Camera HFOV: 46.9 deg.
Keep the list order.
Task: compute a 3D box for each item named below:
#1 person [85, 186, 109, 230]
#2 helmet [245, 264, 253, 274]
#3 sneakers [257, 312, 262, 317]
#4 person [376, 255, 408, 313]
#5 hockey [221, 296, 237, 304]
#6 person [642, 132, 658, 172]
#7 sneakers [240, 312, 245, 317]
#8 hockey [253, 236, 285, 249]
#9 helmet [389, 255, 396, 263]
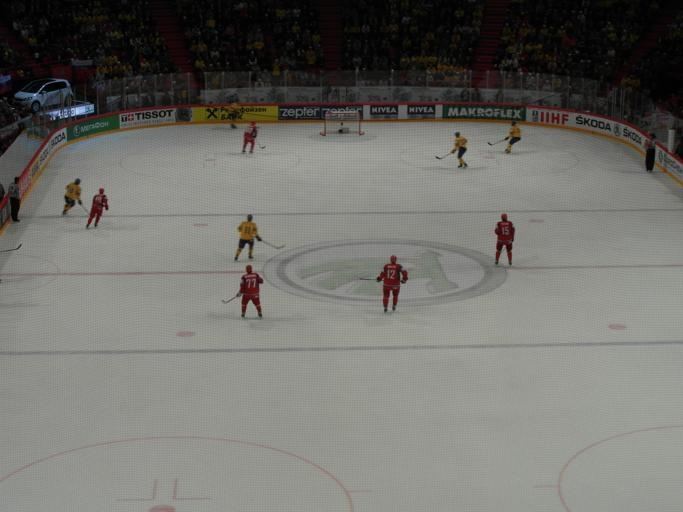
[{"bbox_3d":[-8.432,-1.539,27.099,0.891,1.785,0.470,14,48,-5],"label":"person"},{"bbox_3d":[-2.479,0.342,20.999,0.218,0.256,0.271,1,18,-4],"label":"helmet"},{"bbox_3d":[-2.130,1.510,20.473,0.166,0.176,0.476,-1,-1,-5],"label":"sneakers"},{"bbox_3d":[1.335,0.664,20.596,0.726,1.829,0.933,-1,29,5],"label":"person"},{"bbox_3d":[-3.080,1.198,21.509,0.747,0.214,0.158,8,9,41],"label":"hockey"},{"bbox_3d":[13.134,-4.449,33.325,0.466,1.479,1.940,8,29,19],"label":"person"},{"bbox_3d":[-2.577,1.536,20.535,0.103,0.167,0.096,0,23,2],"label":"sneakers"},{"bbox_3d":[-2.236,-0.388,25.576,1.145,0.111,0.353,16,-4,39],"label":"hockey"},{"bbox_3d":[1.319,0.090,19.970,0.156,0.182,0.191,2,20,5],"label":"helmet"}]
